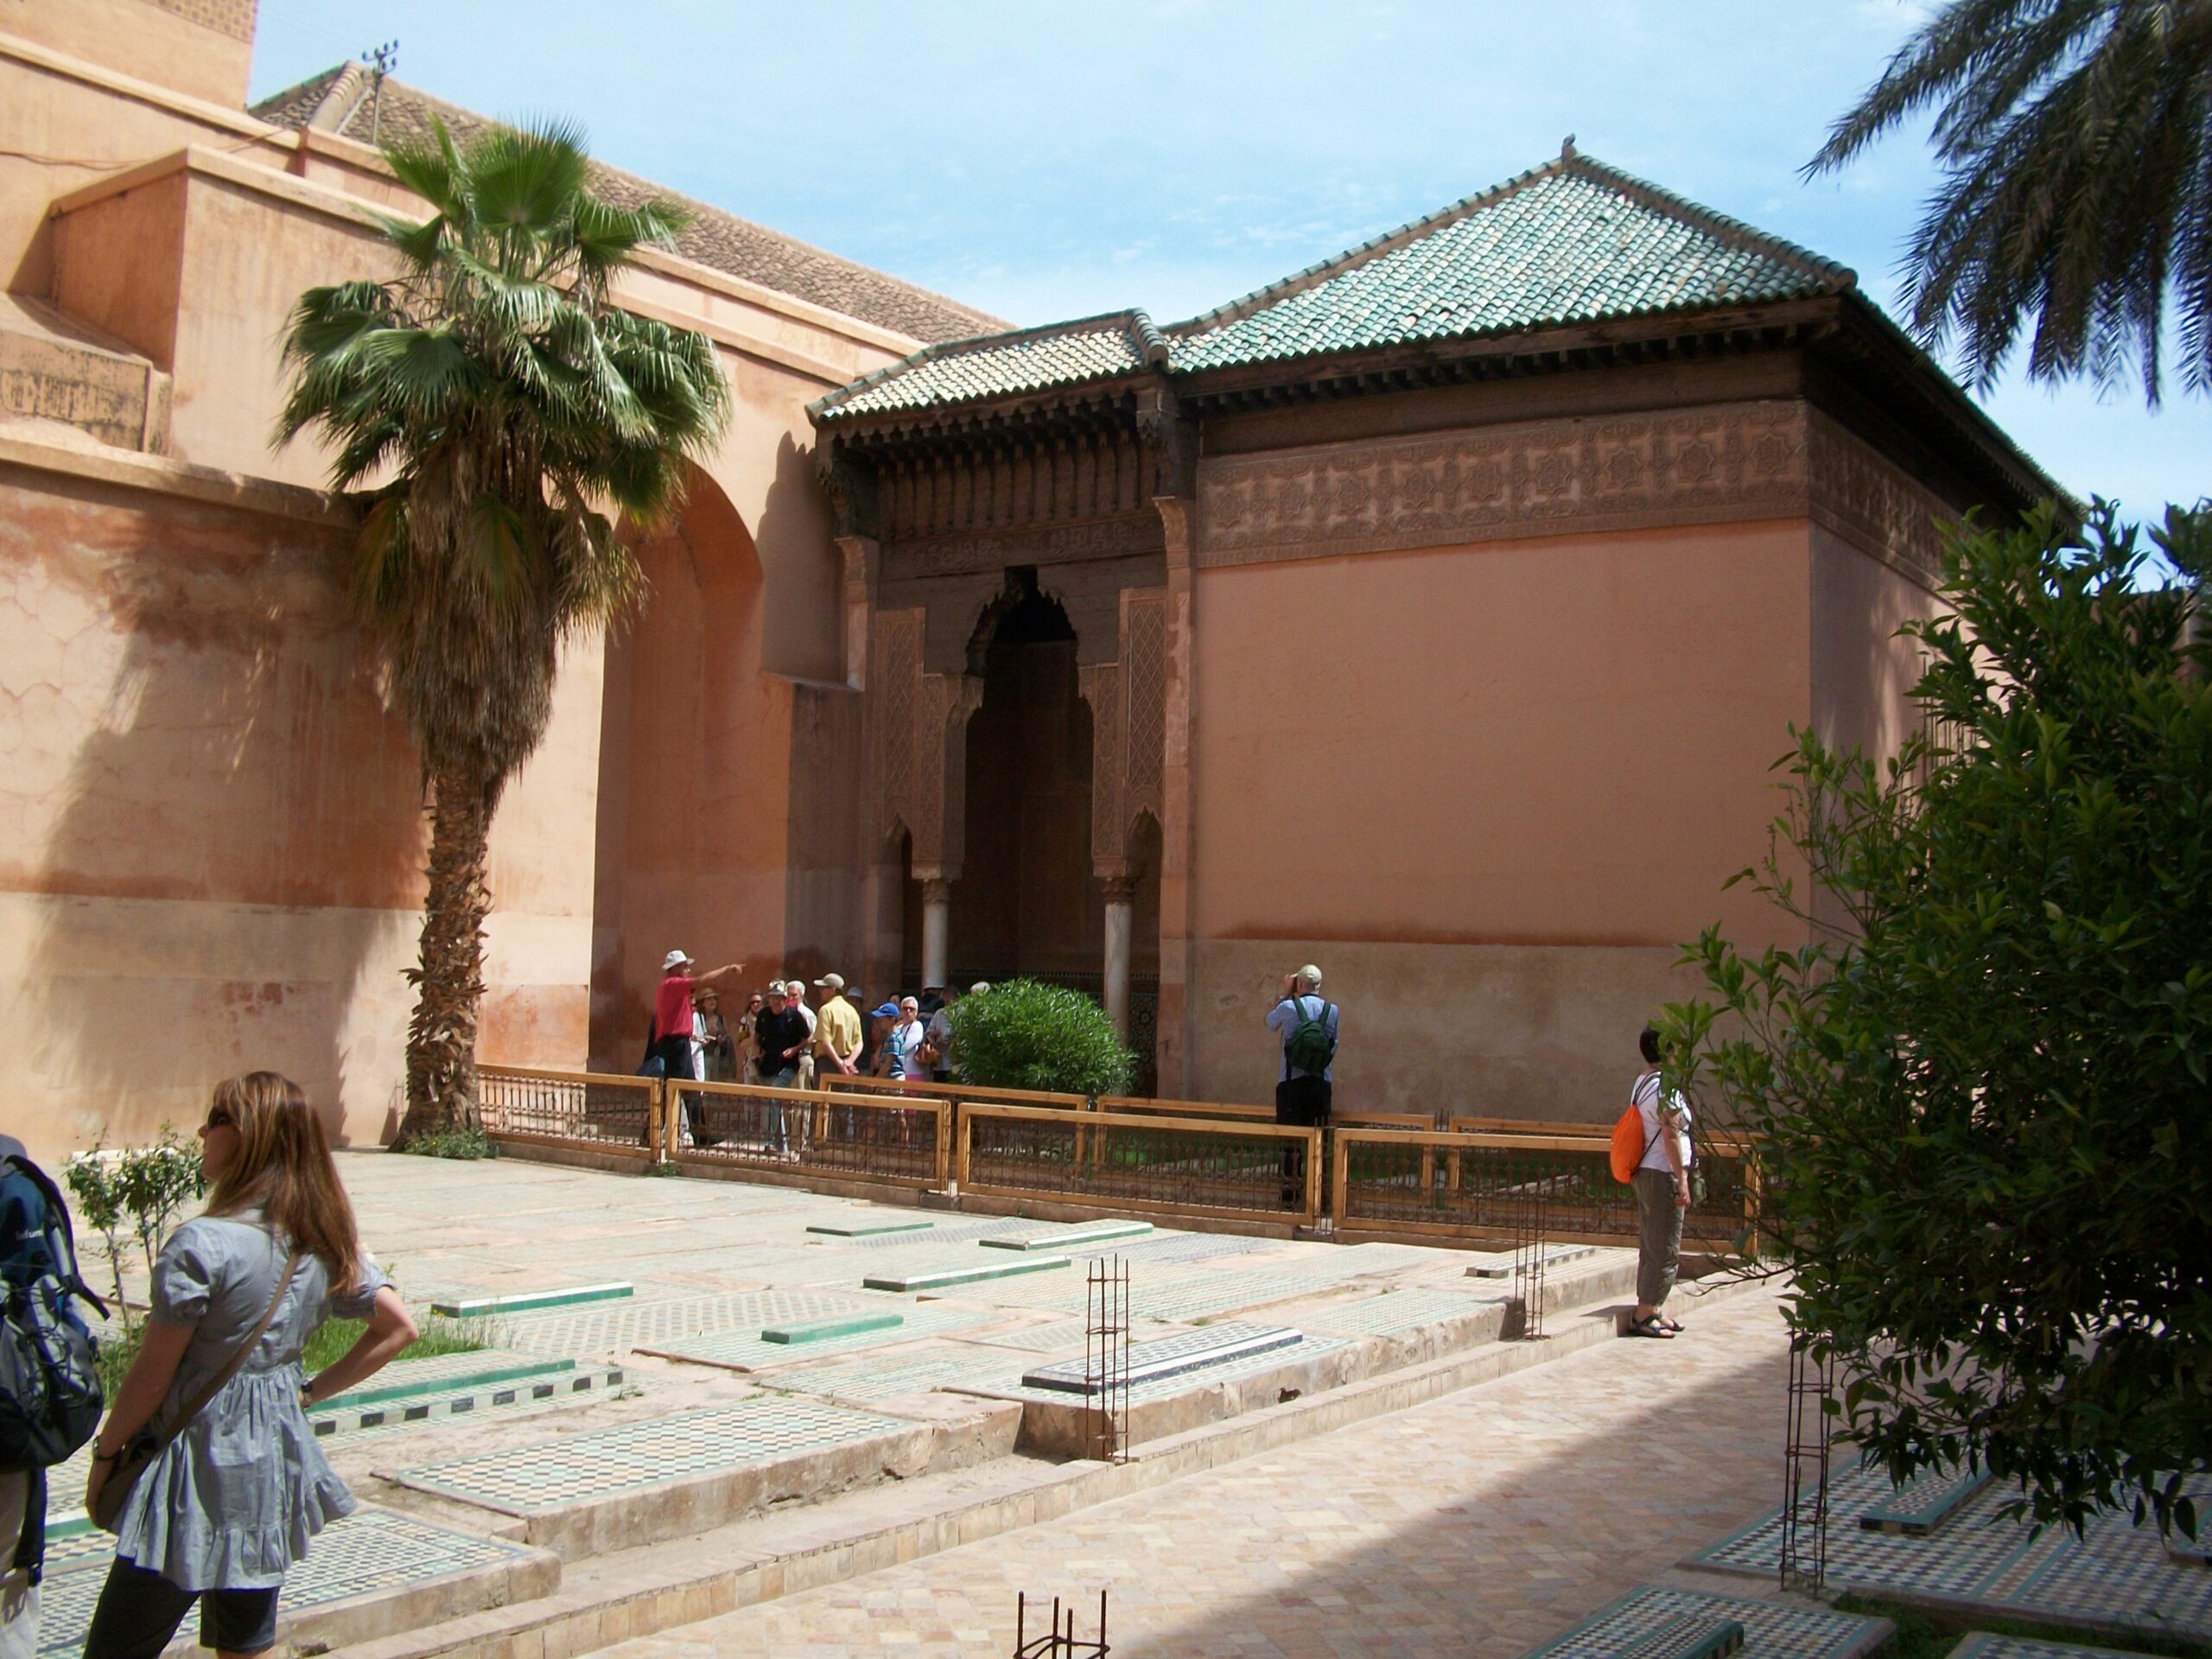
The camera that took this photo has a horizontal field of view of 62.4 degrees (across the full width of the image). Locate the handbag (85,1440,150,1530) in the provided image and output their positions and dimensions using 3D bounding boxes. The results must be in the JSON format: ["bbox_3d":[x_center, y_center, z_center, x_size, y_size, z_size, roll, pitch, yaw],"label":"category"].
[{"bbox_3d":[-2.240,1.470,4.162,0.073,0.206,0.142,8,-4,-6],"label":"handbag"}]

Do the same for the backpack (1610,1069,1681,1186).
[{"bbox_3d":[3.217,1.765,10.888,0.382,0.673,0.524,10,-22,-10],"label":"backpack"}]

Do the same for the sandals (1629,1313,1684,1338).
[{"bbox_3d":[3.227,2.882,10.727,0.275,0.109,0.151,-4,-5,20],"label":"sandals"}]

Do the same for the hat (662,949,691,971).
[{"bbox_3d":[-4.699,1.405,19.923,0.437,0.221,0.584,-1,-9,-13],"label":"hat"}]

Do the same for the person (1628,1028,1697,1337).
[{"bbox_3d":[3.242,2.165,10.690,0.373,1.572,0.590,-3,-7,16],"label":"person"}]

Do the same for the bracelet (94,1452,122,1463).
[{"bbox_3d":[-2.288,1.430,4.162,0.027,0.015,0.036,-3,4,25],"label":"bracelet"}]
